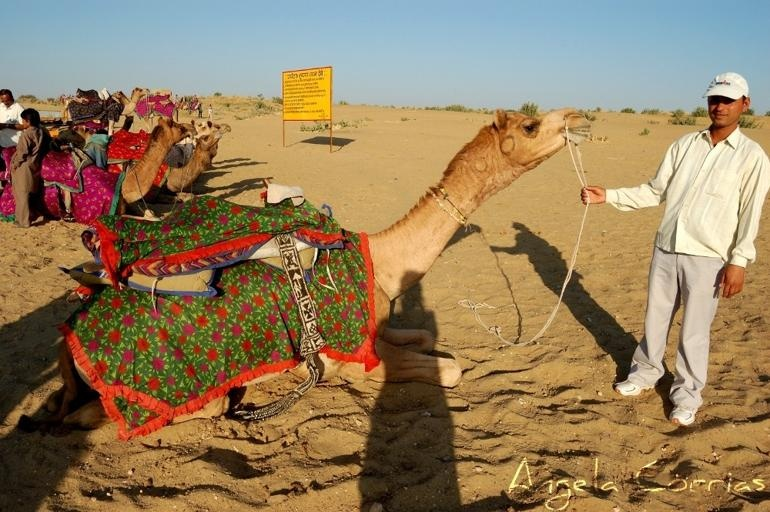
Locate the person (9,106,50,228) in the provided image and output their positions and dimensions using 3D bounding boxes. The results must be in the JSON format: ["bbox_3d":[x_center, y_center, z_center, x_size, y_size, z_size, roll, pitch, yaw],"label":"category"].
[{"bbox_3d":[-6.276,-1.526,9.851,0.752,1.903,0.860,10,8,-17],"label":"person"}]
